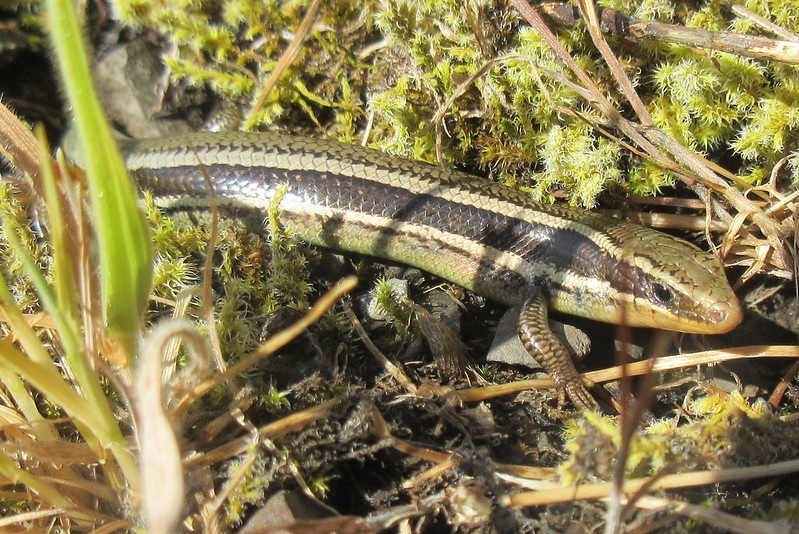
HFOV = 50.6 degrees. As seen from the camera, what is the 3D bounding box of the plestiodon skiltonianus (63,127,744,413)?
[{"bbox_3d":[-0.167,-0.089,4.606,3.695,1.595,0.604,11,70,22],"label":"plestiodon skiltonianus"}]
